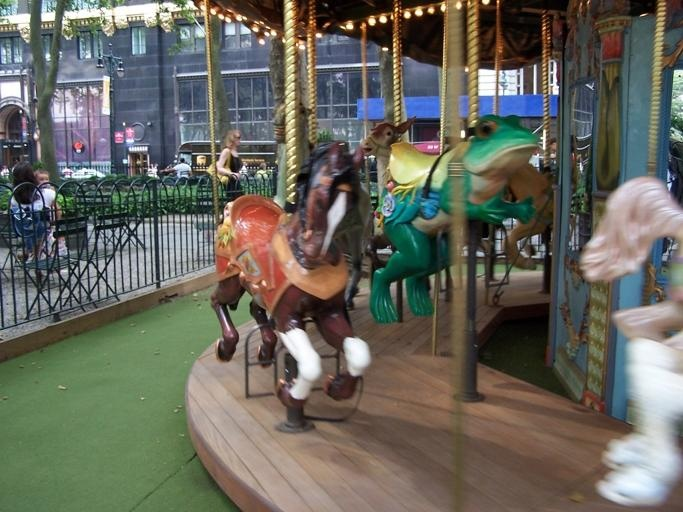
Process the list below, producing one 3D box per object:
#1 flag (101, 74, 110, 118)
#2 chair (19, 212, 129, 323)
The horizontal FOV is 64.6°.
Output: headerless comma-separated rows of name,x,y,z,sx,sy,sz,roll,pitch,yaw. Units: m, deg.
flag,-12.493,-8.550,28.743,0.371,1.943,3.411,-5,14,-24
chair,-3.333,0.149,6.688,0.485,1.017,1.225,6,8,13
